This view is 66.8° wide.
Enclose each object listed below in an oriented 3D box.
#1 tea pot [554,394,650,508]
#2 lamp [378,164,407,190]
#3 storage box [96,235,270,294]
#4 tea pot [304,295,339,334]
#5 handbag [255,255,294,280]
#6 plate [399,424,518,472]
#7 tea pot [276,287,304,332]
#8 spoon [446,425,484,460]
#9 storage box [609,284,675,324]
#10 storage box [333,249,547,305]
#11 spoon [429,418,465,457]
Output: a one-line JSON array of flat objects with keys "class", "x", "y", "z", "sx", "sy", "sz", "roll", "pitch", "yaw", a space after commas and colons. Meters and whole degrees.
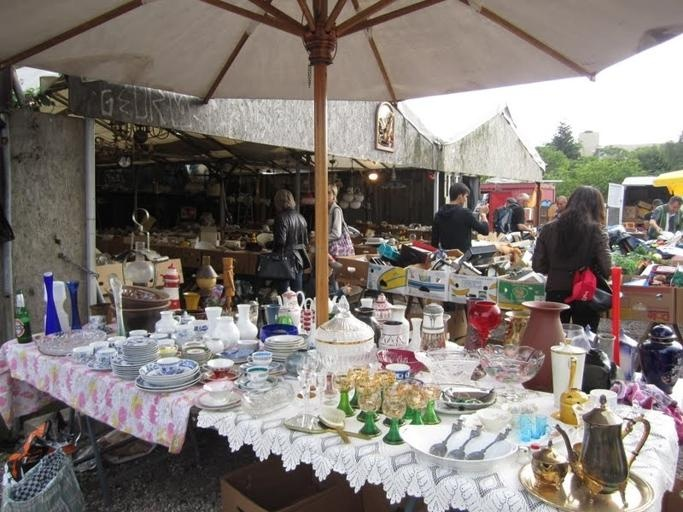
[{"class": "tea pot", "x": 1.021, "y": 0.782, "z": 2.043, "sx": 0.359, "sy": 0.403, "sz": 0.180, "roll": 1, "pitch": 7, "yaw": 24}, {"class": "lamp", "x": 1.179, "y": -1.697, "z": 11.779, "sx": 0.611, "sy": 0.632, "sz": 0.594, "roll": 0, "pitch": -1, "yaw": -38}, {"class": "storage box", "x": -2.208, "y": -0.026, "z": 7.988, "sx": 3.767, "sy": 0.651, "sz": 0.382, "roll": 8, "pitch": -10, "yaw": 16}, {"class": "tea pot", "x": -0.147, "y": 0.375, "z": 3.452, "sx": 0.244, "sy": 0.256, "sz": 0.183, "roll": 13, "pitch": 6, "yaw": 38}, {"class": "handbag", "x": -0.756, "y": 0.129, "z": 6.020, "sx": 0.277, "sy": 0.277, "sz": 0.119, "roll": 3, "pitch": -22, "yaw": -1}, {"class": "plate", "x": 0.490, "y": 0.769, "z": 2.092, "sx": 0.333, "sy": 0.066, "sz": 0.258, "roll": -4, "pitch": -7, "yaw": -36}, {"class": "tea pot", "x": -0.318, "y": 0.333, "z": 3.529, "sx": 0.198, "sy": 0.283, "sz": 0.140, "roll": -8, "pitch": 27, "yaw": -5}, {"class": "spoon", "x": 0.506, "y": 0.769, "z": 2.128, "sx": 0.057, "sy": 0.038, "sz": 0.256, "roll": 7, "pitch": 20, "yaw": 29}, {"class": "storage box", "x": 2.975, "y": 0.403, "z": 5.272, "sx": 0.786, "sy": 0.448, "sz": 0.541, "roll": 1, "pitch": 1, "yaw": 20}, {"class": "storage box", "x": 1.060, "y": 0.277, "z": 5.287, "sx": 0.739, "sy": 0.214, "sz": 1.420, "roll": -4, "pitch": 6, "yaw": -43}, {"class": "spoon", "x": 0.435, "y": 0.761, "z": 2.158, "sx": 0.059, "sy": 0.037, "sz": 0.252, "roll": 6, "pitch": 18, "yaw": 26}]
